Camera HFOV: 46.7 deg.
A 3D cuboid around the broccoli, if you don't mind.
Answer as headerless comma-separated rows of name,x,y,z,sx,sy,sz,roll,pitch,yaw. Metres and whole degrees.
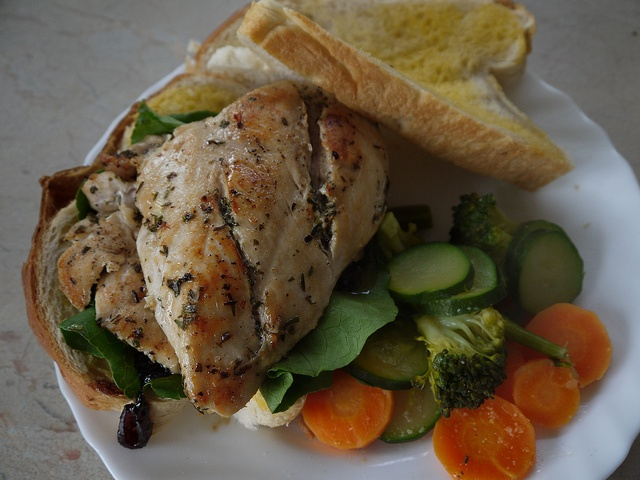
broccoli,0.651,0.546,3.327,0.394,0.196,0.456,-4,83,-2
